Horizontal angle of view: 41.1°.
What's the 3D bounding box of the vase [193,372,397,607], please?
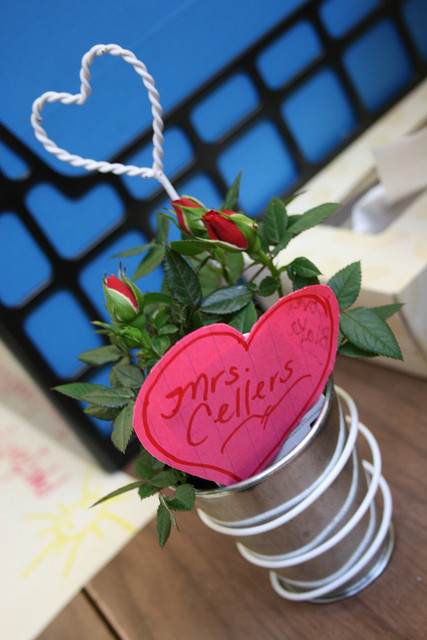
[{"bbox_3d":[0.042,0.103,0.401,0.124,0.122,0.115,-27,34,-11],"label":"vase"}]
